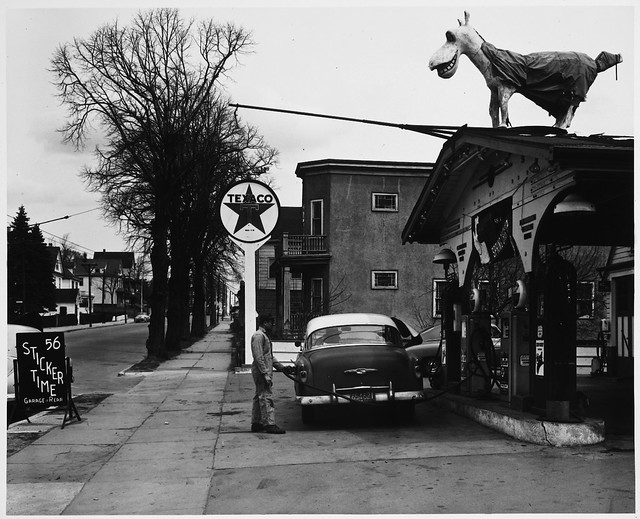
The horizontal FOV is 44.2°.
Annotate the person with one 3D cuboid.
[{"bbox_3d":[-0.970,2.035,14.068,0.440,2.088,0.545,1,-3,-29],"label":"person"}]

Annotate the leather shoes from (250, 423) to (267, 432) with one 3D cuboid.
[{"bbox_3d":[-1.096,2.968,14.005,0.209,0.192,0.125,19,-16,-31],"label":"leather shoes"}]

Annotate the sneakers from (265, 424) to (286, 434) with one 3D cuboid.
[{"bbox_3d":[-0.810,2.997,13.982,0.290,0.152,0.175,0,-1,-3],"label":"sneakers"}]

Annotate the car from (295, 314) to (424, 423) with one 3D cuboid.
[{"bbox_3d":[0.645,1.883,14.560,1.345,1.382,2.688,0,0,-4],"label":"car"}]

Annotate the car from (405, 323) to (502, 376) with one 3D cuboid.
[{"bbox_3d":[3.745,2.478,21.570,2.487,1.583,1.693,-3,-1,-2],"label":"car"}]
